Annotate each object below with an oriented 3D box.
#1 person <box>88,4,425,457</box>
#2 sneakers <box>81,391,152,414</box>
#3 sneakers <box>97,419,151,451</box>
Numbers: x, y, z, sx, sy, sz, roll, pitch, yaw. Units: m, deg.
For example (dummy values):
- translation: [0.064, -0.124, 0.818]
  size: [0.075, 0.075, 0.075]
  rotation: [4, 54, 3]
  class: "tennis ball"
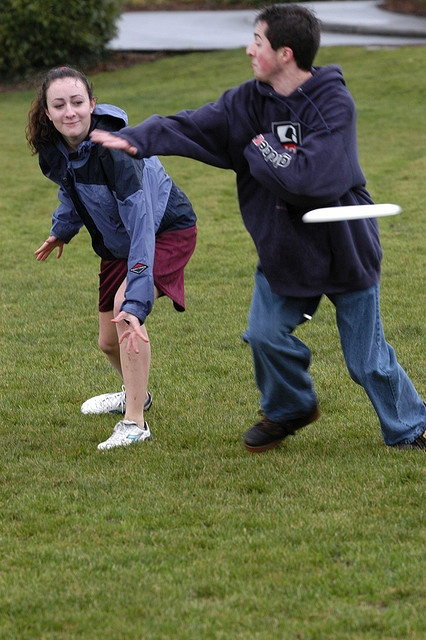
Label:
- translation: [0.320, -0.267, 3.575]
  size: [1.183, 1.973, 0.515]
  rotation: [6, 21, 17]
  class: "person"
- translation: [-0.496, 0.464, 4.718]
  size: [0.417, 0.150, 0.152]
  rotation: [3, 1, -3]
  class: "sneakers"
- translation: [-0.415, 0.563, 4.225]
  size: [0.289, 0.111, 0.102]
  rotation: [-10, 1, -22]
  class: "sneakers"
